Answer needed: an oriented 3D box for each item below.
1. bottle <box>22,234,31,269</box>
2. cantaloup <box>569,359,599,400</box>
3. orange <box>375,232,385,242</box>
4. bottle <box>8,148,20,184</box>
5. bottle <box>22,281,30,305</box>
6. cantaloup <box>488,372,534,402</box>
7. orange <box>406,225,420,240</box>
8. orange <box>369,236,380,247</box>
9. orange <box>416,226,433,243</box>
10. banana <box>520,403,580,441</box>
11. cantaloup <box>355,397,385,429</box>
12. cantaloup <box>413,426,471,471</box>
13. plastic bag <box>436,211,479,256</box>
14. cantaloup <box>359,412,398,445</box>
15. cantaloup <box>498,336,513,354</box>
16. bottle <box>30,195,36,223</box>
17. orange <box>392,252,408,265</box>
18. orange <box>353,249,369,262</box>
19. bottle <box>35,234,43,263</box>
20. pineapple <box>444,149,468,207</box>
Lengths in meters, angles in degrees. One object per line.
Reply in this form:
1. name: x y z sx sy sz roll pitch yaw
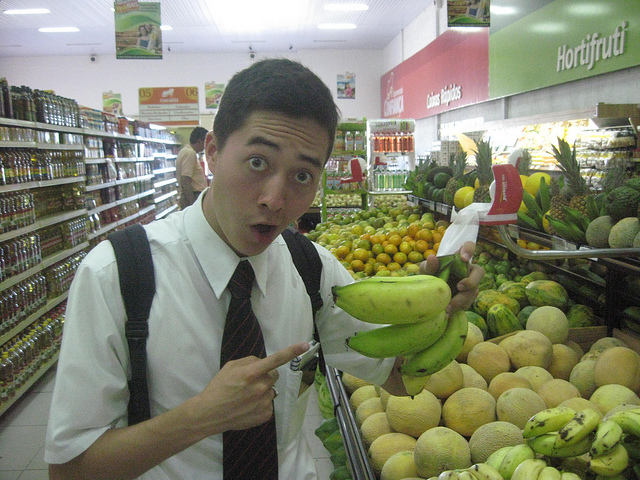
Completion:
1. bottle: -2.865 0.124 4.075 0.040 0.291 0.097 -9 14 -35
2. cantaloup: 1.247 0.651 1.969 0.144 0.189 0.152 1 -5 1
3. orange: 0.564 -0.027 3.873 0.056 0.073 0.059 -6 7 -2
4. bottle: -2.897 -0.685 3.956 0.056 0.274 0.191 -9 15 -35
5. bottle: -2.862 0.506 4.065 0.045 0.193 0.122 -12 16 -42
6. cantaloup: 0.887 0.666 1.939 0.123 0.142 0.143 0 36 8
7. orange: 0.849 -0.074 3.818 0.103 0.133 0.108 4 9 2
8. orange: 0.505 0.016 3.803 0.071 0.094 0.075 -1 5 5
9. orange: 0.949 -0.046 3.731 0.123 0.155 0.116 -3 -11 45
10. banana: 0.714 0.576 1.307 0.195 0.075 0.056 -5 -5 -10
11. cantaloup: 0.254 0.864 2.137 0.124 0.152 0.125 -9 20 11
12. cantaloup: 0.473 0.816 1.660 0.168 0.187 0.180 -1 -3 -36
13. plastic bag: 0.464 -0.026 1.394 0.114 0.123 0.254 5 15 24
14. cantaloup: 0.270 0.896 1.976 0.104 0.108 0.133 27 -38 -29
15. cantaloup: 1.016 0.573 2.276 0.063 0.036 0.064 -17 10 -19
16. bottle: -2.989 -0.344 4.330 0.028 0.283 0.437 -8 15 -32
17. orange: 0.703 0.154 3.692 0.101 0.127 0.100 -24 18 -33
18. orange: 0.370 0.120 3.729 0.105 0.108 0.103 9 24 39
19. bottle: -2.910 0.077 4.299 0.037 0.273 0.217 -9 15 -34
20. pineapple: 1.215 -0.555 3.734 0.163 0.448 0.707 4 14 19
